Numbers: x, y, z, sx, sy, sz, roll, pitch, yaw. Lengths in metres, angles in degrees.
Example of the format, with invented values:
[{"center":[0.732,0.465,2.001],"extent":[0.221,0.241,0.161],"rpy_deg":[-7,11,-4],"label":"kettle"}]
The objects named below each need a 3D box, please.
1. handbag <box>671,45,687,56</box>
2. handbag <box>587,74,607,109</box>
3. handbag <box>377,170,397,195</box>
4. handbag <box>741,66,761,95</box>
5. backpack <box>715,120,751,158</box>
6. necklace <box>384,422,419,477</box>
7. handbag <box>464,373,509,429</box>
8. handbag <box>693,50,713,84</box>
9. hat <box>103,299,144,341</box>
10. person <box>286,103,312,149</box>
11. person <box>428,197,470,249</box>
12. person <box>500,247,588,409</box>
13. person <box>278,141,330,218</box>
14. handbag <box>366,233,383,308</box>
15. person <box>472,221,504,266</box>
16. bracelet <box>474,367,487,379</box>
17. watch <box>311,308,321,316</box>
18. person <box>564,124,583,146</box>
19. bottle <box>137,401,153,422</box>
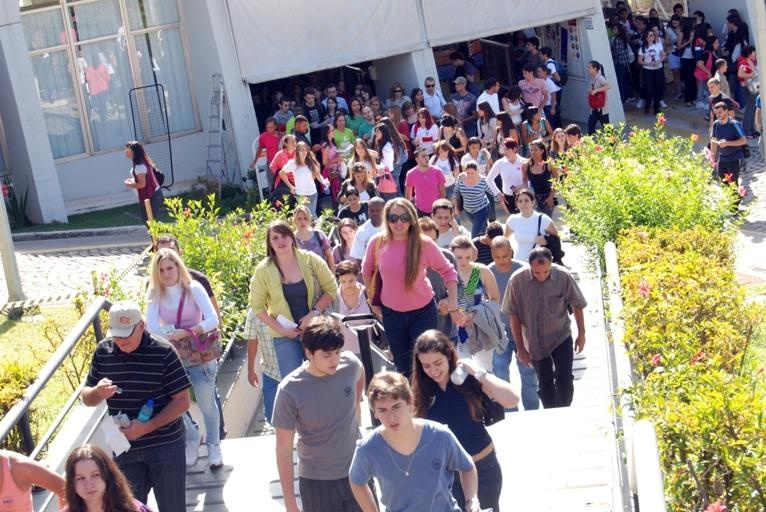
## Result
[{"center":[8.568,-5.993,19.022],"extent":[0.320,0.333,0.205],"rpy_deg":[-13,-12,6],"label":"handbag"},{"center":[5.537,-4.270,16.973],"extent":[0.462,0.920,0.463],"rpy_deg":[-5,6,16],"label":"handbag"},{"center":[0.061,-1.386,12.393],"extent":[0.480,0.674,0.227],"rpy_deg":[-1,21,-1],"label":"handbag"},{"center":[8.824,-4.261,15.895],"extent":[0.382,0.771,0.747],"rpy_deg":[-3,7,26],"label":"handbag"},{"center":[6.517,-2.194,12.330],"extent":[0.607,0.786,0.497],"rpy_deg":[-5,6,11],"label":"backpack"},{"center":[0.133,1.311,4.405],"extent":[0.297,0.448,0.047],"rpy_deg":[-3,-9,1],"label":"necklace"},{"center":[0.768,1.122,5.065],"extent":[0.140,0.389,0.289],"rpy_deg":[-36,-14,-13],"label":"handbag"},{"center":[8.744,-5.233,17.894],"extent":[0.459,0.825,0.595],"rpy_deg":[-3,7,27],"label":"handbag"},{"center":[-2.096,0.496,5.300],"extent":[0.238,0.214,0.390],"rpy_deg":[0,23,0],"label":"hat"},{"center":[-1.825,-2.772,14.395],"extent":[0.384,0.684,0.837],"rpy_deg":[12,35,25],"label":"person"},{"center":[1.128,-0.427,9.782],"extent":[0.394,0.699,1.403],"rpy_deg":[3,-14,22],"label":"person"},{"center":[1.856,0.836,7.304],"extent":[0.914,1.919,0.547],"rpy_deg":[-9,6,-25],"label":"person"},{"center":[-1.504,-1.453,12.468],"extent":[0.838,1.437,0.618],"rpy_deg":[-6,6,7],"label":"person"},{"center":[-0.079,0.169,6.912],"extent":[0.136,1.106,0.279],"rpy_deg":[12,30,19],"label":"handbag"},{"center":[1.397,-0.137,8.755],"extent":[0.302,0.282,0.864],"rpy_deg":[-21,-20,4],"label":"person"},{"center":[0.755,0.905,5.037],"extent":[0.058,0.085,0.088],"rpy_deg":[37,23,19],"label":"bracelet"},{"center":[-0.677,0.584,6.699],"extent":[0.076,0.069,0.092],"rpy_deg":[1,5,16],"label":"watch"},{"center":[3.552,-2.277,12.347],"extent":[0.279,0.415,0.835],"rpy_deg":[-5,7,15],"label":"person"},{"center":[-1.938,1.289,5.376],"extent":[0.085,0.161,0.090],"rpy_deg":[28,6,-3],"label":"bottle"}]
